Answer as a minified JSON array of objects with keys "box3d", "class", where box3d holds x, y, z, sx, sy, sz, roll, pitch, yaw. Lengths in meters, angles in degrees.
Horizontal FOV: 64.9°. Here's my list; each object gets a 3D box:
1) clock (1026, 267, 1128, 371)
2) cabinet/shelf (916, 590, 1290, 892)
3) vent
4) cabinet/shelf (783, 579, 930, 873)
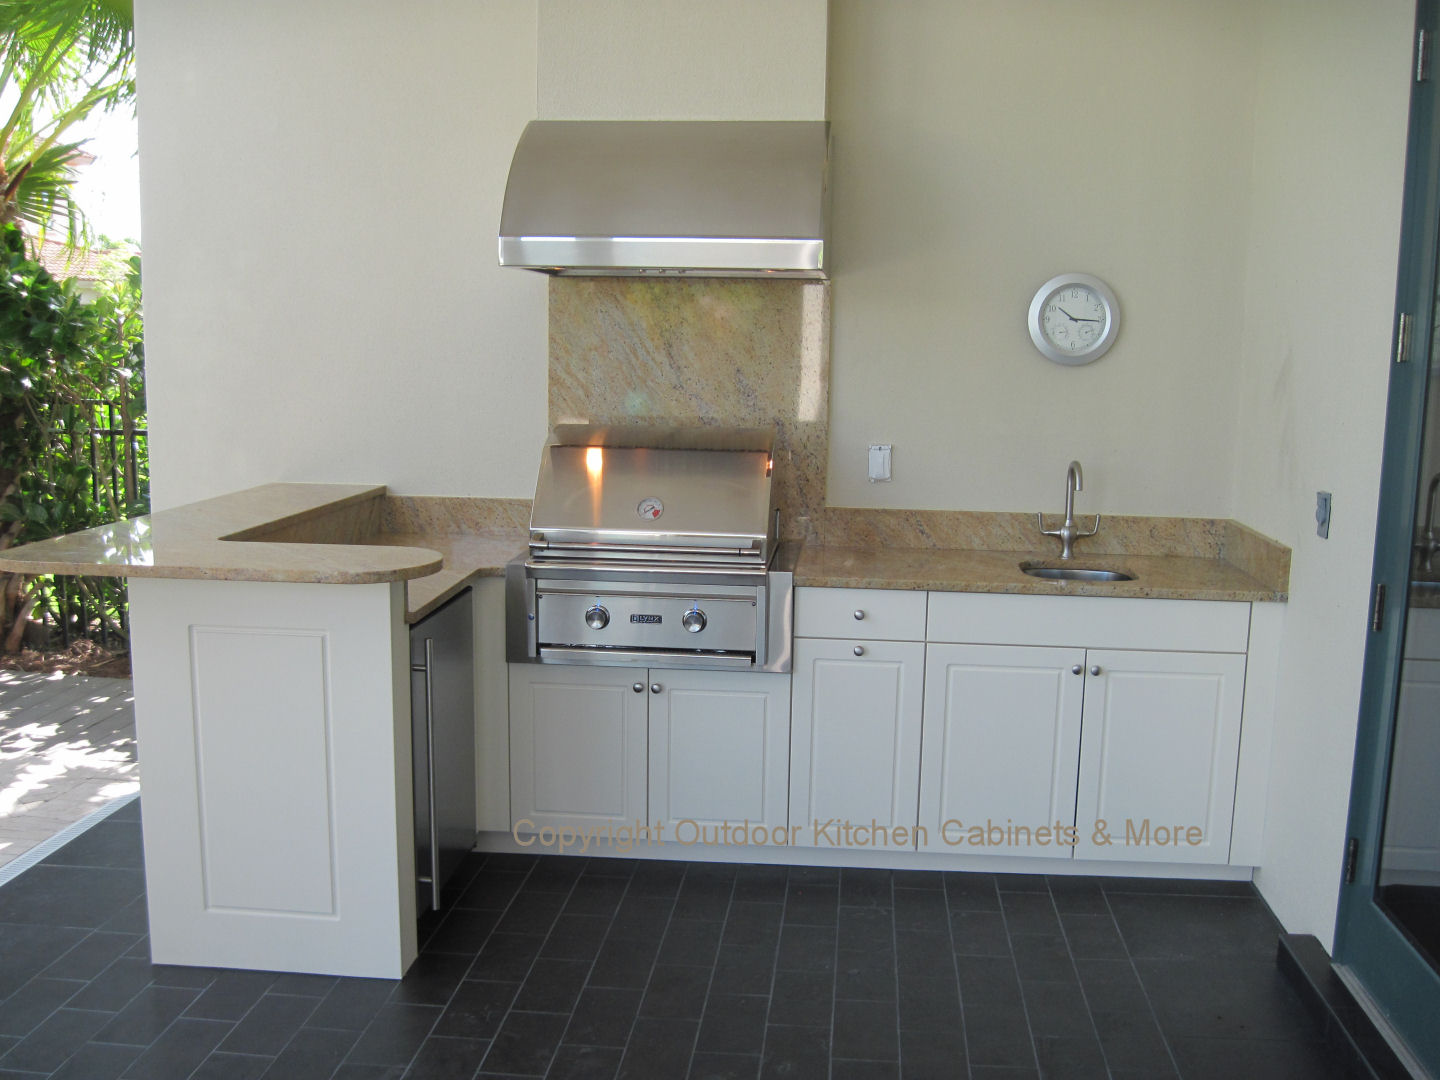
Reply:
[{"box3d":[1.323,-0.822,4.236,0.349,0.331,0.044,0,6,3],"class":"clock"},{"box3d":[1.249,0.615,4.039,1.059,0.948,0.419,1,10,4],"class":"cabinet/shelf"},{"box3d":[-0.156,-1.207,3.995,1.054,0.536,0.749,2,13,5],"class":"vent"},{"box3d":[0.456,0.623,3.941,0.516,0.858,0.473,3,10,2],"class":"cabinet/shelf"}]
